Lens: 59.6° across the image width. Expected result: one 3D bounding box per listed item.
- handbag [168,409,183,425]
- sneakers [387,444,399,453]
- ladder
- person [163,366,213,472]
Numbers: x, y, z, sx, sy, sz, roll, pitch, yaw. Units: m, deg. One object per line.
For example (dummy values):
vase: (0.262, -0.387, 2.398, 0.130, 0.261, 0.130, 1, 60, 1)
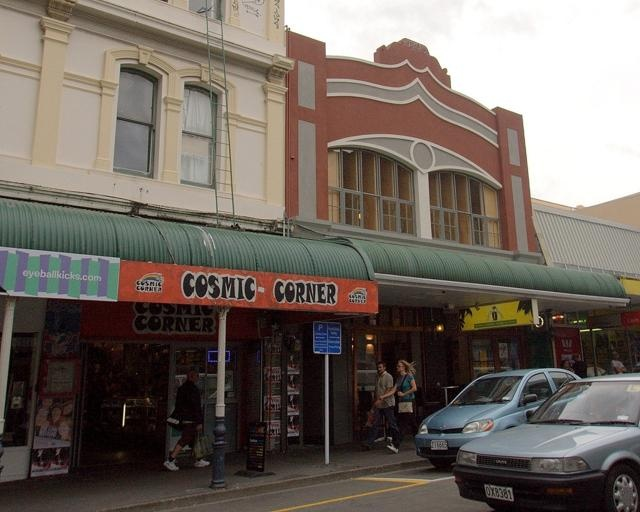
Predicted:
handbag: (-3.009, 3.387, 11.643, 0.258, 0.354, 0.118, 7, 14, 29)
sneakers: (1.751, 4.529, 13.102, 0.132, 0.169, 0.399, -6, -40, 24)
ladder: (-2.454, -3.534, 13.601, 0.724, 5.910, 1.077, -4, -16, 0)
person: (-2.828, 3.486, 11.933, 0.904, 1.977, 1.096, 1, -17, -16)
